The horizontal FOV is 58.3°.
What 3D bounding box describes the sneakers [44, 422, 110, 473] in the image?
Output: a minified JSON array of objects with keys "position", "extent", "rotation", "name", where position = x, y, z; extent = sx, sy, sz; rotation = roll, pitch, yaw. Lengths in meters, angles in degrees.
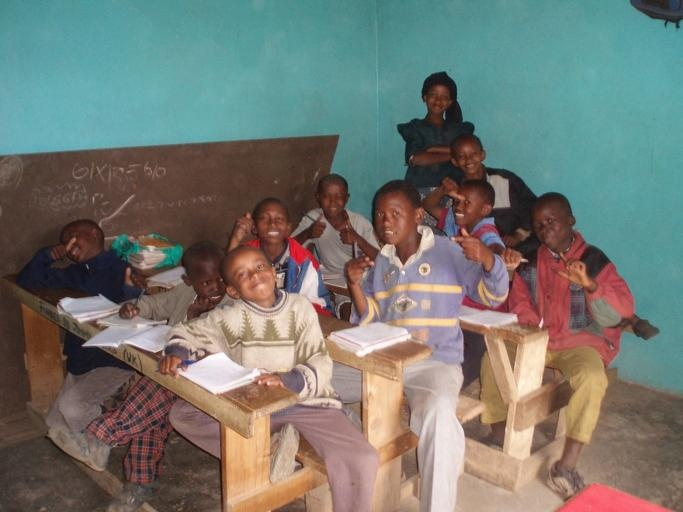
[{"position":[-1.406,1.007,3.285],"extent":[0.362,0.097,0.176],"rotation":[35,42,3],"name":"sneakers"}]
